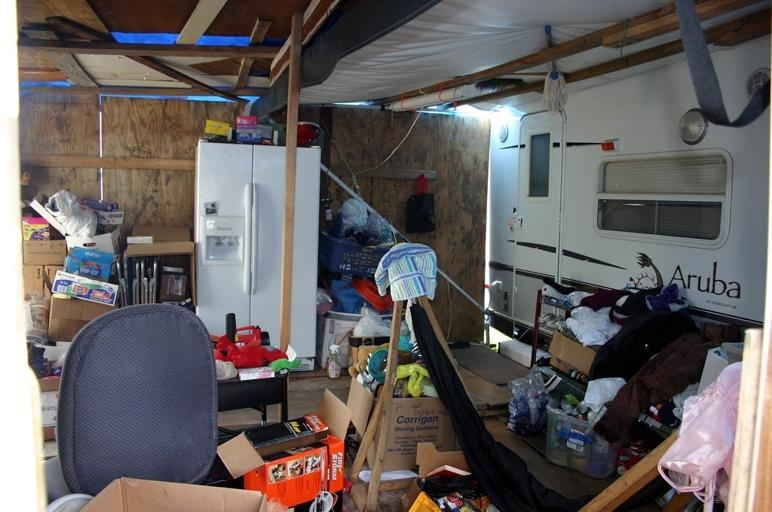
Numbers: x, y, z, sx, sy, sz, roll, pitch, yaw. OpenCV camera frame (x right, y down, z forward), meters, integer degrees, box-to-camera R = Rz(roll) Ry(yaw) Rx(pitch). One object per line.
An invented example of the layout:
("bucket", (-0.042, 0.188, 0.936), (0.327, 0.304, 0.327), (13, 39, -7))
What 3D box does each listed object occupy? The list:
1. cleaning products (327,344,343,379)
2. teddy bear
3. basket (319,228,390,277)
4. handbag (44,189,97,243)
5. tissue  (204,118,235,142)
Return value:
("cleaning products", (-0.516, 1.070, 5.839), (0.160, 0.318, 0.152), (-1, 6, -3))
("teddy bear", (0.069, 0.838, 4.056), (0.393, 0.157, 0.391), (12, 7, 40))
("basket", (-0.402, 0.041, 6.327), (0.811, 0.346, 0.567), (17, 8, -33))
("handbag", (-3.041, -0.335, 5.546), (0.190, 0.513, 0.418), (-22, 32, 34))
("tissue ", (-1.659, -1.203, 5.553), (0.359, 0.192, 0.223), (1, 4, 35))
